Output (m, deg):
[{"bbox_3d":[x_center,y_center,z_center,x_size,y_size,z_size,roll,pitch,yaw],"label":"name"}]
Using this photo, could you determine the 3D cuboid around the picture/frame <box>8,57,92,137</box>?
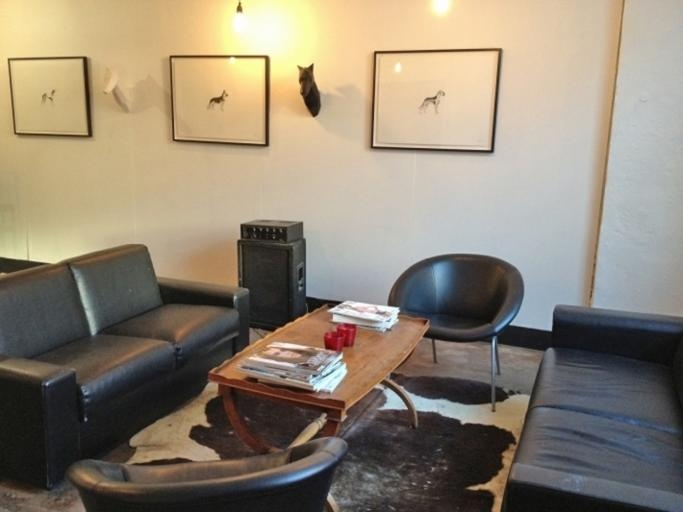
[{"bbox_3d":[-3.012,-1.694,5.747,0.891,0.697,0.033,6,19,20],"label":"picture/frame"}]

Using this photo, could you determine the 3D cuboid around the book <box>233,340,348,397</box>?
[{"bbox_3d":[-0.262,0.557,2.810,0.319,0.072,0.283,6,12,22],"label":"book"}]

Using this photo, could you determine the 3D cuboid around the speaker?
[{"bbox_3d":[-0.614,0.230,4.727,0.691,0.932,0.496,5,13,21],"label":"speaker"}]

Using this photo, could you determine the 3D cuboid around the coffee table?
[{"bbox_3d":[-0.143,0.617,3.058,0.755,0.622,1.172,11,20,27],"label":"coffee table"}]
